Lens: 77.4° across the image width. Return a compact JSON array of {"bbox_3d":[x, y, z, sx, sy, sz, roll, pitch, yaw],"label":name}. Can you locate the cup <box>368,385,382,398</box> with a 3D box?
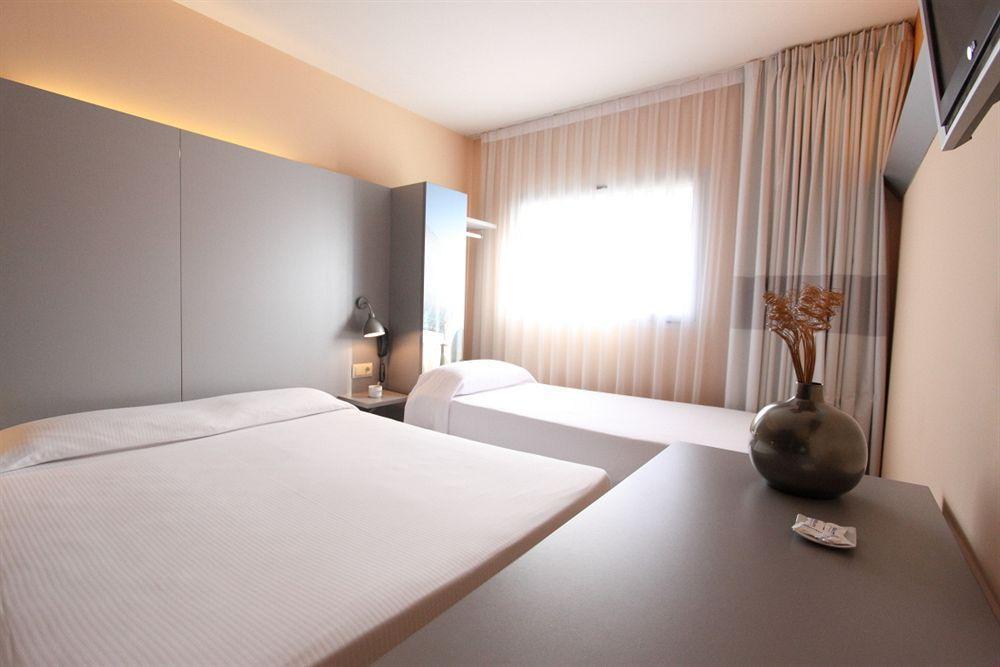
[{"bbox_3d":[-0.830,0.379,4.160,0.080,0.063,0.081,0,13,0],"label":"cup"}]

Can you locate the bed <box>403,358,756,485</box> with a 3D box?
[{"bbox_3d":[0.376,0.490,3.611,1.370,0.407,0.916,6,9,30],"label":"bed"}]

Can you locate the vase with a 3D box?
[{"bbox_3d":[1.071,0.375,2.276,0.365,0.364,0.379,1,-4,1],"label":"vase"}]

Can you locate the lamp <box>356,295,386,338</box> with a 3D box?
[{"bbox_3d":[-0.874,-0.098,4.217,0.213,0.296,0.302,1,7,-12],"label":"lamp"}]
